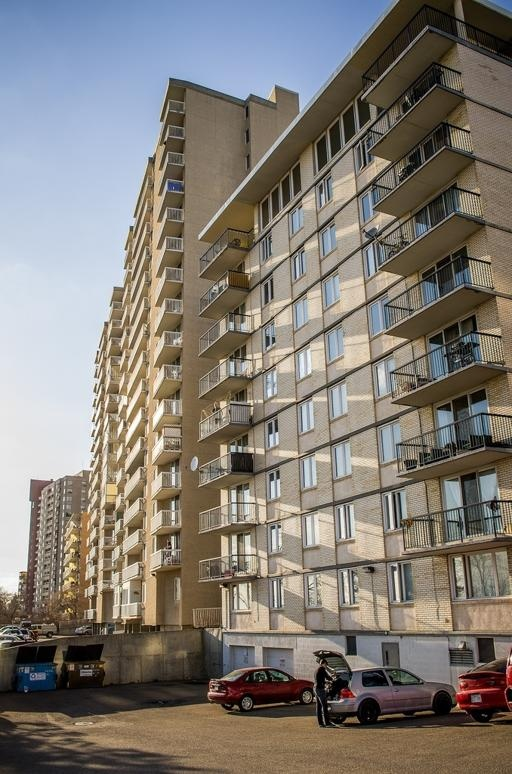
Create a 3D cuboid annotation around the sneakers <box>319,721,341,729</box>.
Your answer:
[{"bbox_3d":[1.592,7.503,14.758,0.553,0.215,0.188,1,-26,-6],"label":"sneakers"}]

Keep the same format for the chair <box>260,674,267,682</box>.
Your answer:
[{"bbox_3d":[0.222,8.998,20.538,0.185,0.173,0.181,2,-6,-6],"label":"chair"}]

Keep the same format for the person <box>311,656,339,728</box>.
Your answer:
[{"bbox_3d":[1.573,7.010,15.308,0.463,1.385,1.514,-4,-19,4],"label":"person"}]
